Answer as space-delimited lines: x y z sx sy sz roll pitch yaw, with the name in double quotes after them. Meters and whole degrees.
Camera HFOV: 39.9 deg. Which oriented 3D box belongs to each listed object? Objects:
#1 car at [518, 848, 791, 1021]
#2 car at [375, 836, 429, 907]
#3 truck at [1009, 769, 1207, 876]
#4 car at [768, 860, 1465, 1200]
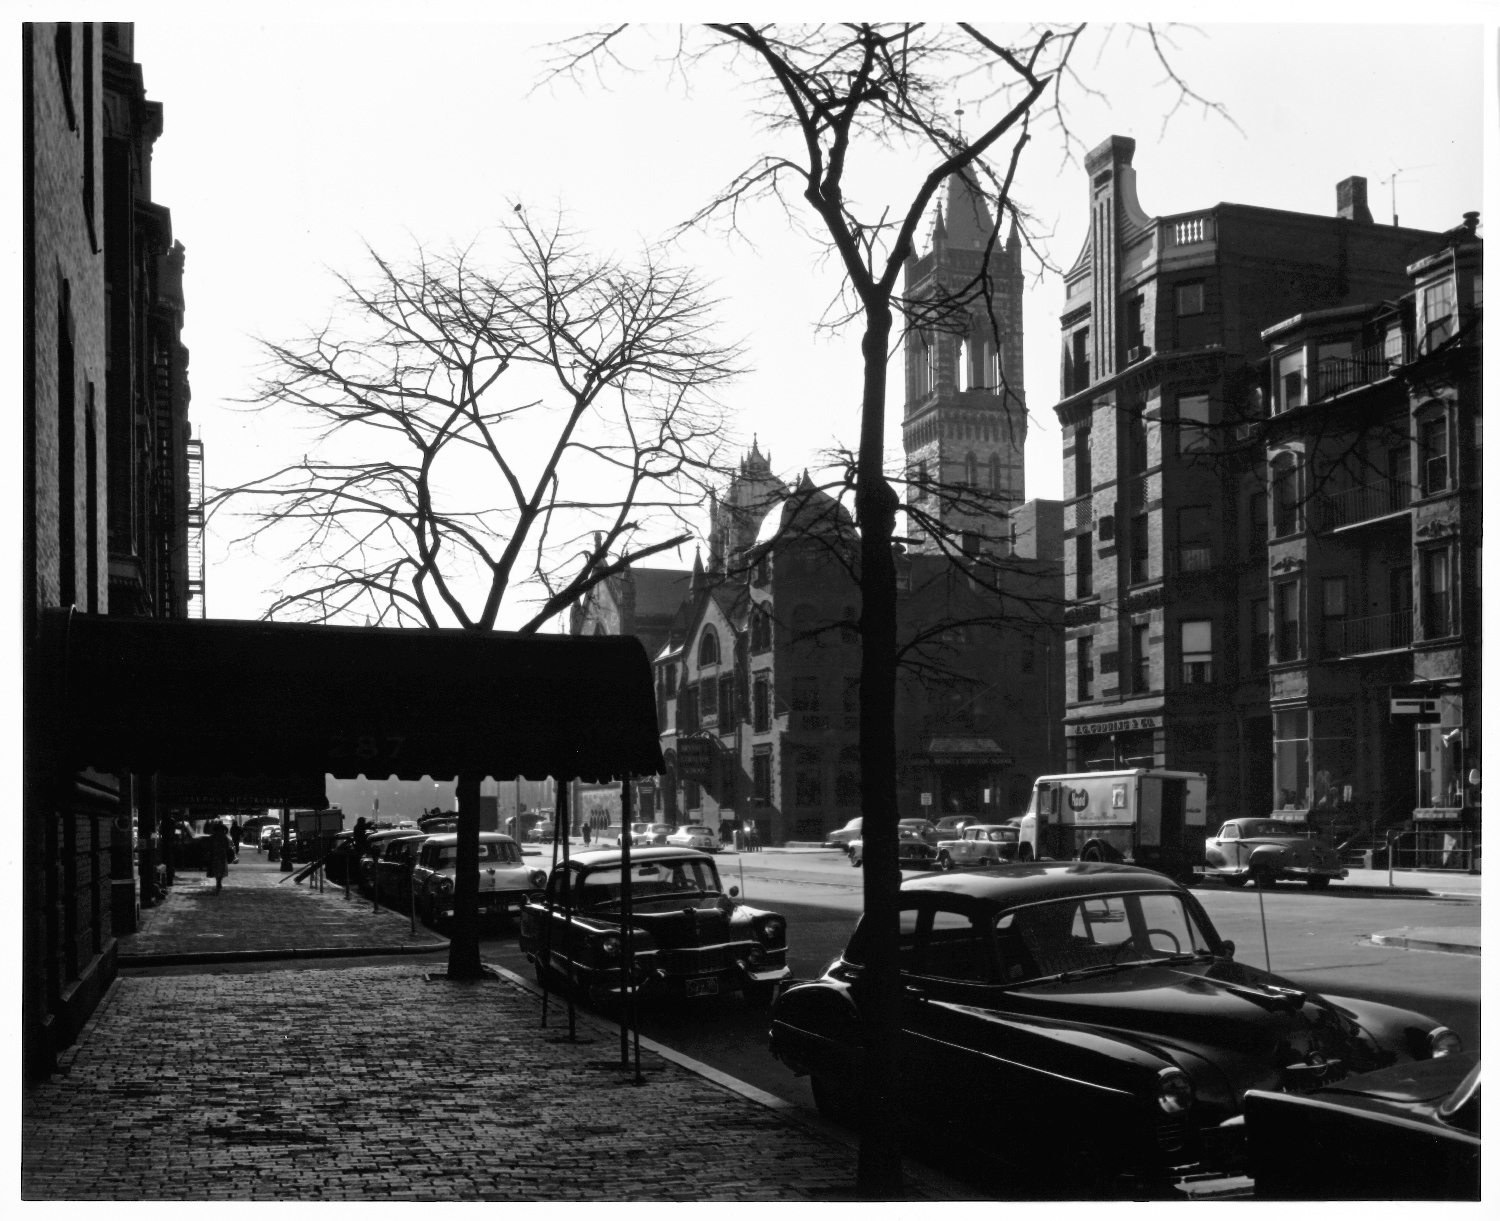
-1.070 3.317 21.315 1.498 1.001 2.659 2 -7 -25 "car"
-6.311 4.743 37.050 1.169 1.096 2.218 0 0 -21 "car"
7.462 4.230 42.705 3.059 2.675 4.934 4 -3 -31 "truck"
2.127 2.878 14.437 2.111 1.465 3.512 3 -10 -33 "car"
